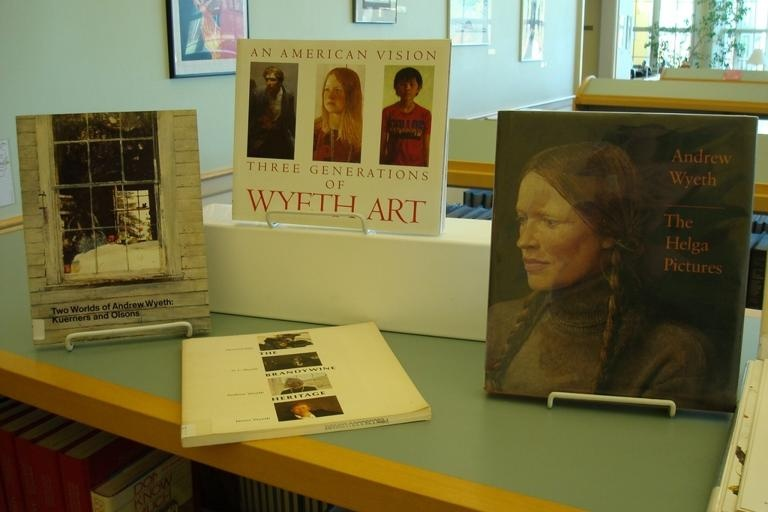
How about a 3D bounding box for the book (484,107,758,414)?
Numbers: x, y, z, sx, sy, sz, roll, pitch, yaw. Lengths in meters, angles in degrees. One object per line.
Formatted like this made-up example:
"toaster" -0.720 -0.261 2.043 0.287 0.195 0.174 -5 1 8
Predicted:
"book" 0.407 0.010 1.065 0.510 0.593 0.047 3 3 11
